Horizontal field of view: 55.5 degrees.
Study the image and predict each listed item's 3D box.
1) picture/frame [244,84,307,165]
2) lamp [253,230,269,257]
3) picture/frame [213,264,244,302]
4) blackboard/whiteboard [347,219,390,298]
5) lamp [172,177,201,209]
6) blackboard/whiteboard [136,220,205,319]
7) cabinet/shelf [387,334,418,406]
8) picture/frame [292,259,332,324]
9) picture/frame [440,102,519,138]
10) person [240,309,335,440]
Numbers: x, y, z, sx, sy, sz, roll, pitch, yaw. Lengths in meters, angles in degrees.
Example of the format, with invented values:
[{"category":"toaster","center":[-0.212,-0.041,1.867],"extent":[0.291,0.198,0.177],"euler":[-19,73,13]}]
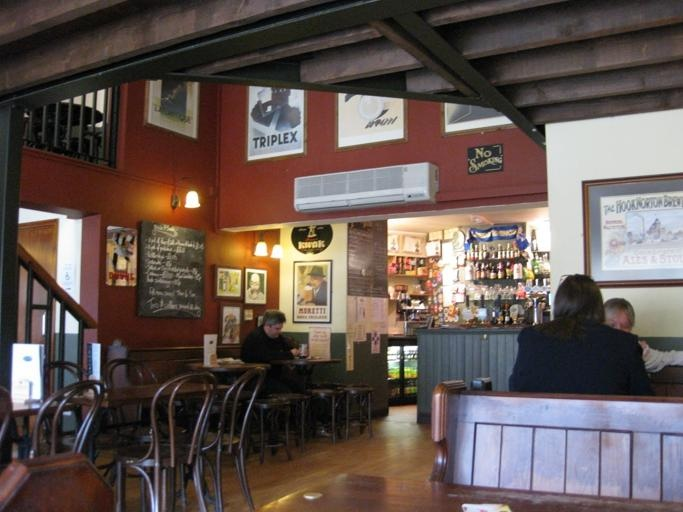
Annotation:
[{"category":"picture/frame","center":[-0.800,-1.613,8.160],"extent":[1.112,1.432,0.065],"euler":[-3,-9,23]},{"category":"lamp","center":[-1.128,-0.167,9.099],"extent":[0.215,0.354,0.541],"euler":[-1,-6,-6]},{"category":"picture/frame","center":[-1.531,0.373,8.682],"extent":[0.050,0.418,0.530],"euler":[-6,-6,33]},{"category":"blackboard/whiteboard","center":[0.355,0.053,9.284],"extent":[0.094,1.140,1.181],"euler":[-2,-3,29]},{"category":"lamp","center":[-1.959,-0.782,8.116],"extent":[0.296,0.446,0.392],"euler":[-9,-11,32]},{"category":"blackboard/whiteboard","center":[-2.100,0.181,7.838],"extent":[0.133,1.270,1.174],"euler":[-7,-10,33]},{"category":"cabinet/shelf","center":[0.987,1.887,10.512],"extent":[0.352,1.136,0.874],"euler":[-7,-8,40]},{"category":"picture/frame","center":[-0.391,0.527,9.099],"extent":[0.878,1.154,0.052],"euler":[-5,-12,30]},{"category":"picture/frame","center":[1.389,-1.345,6.471],"extent":[0.675,0.373,0.067],"euler":[0,-14,21]},{"category":"person","center":[-0.863,1.245,7.822],"extent":[0.786,1.106,0.656],"euler":[2,3,10]}]
